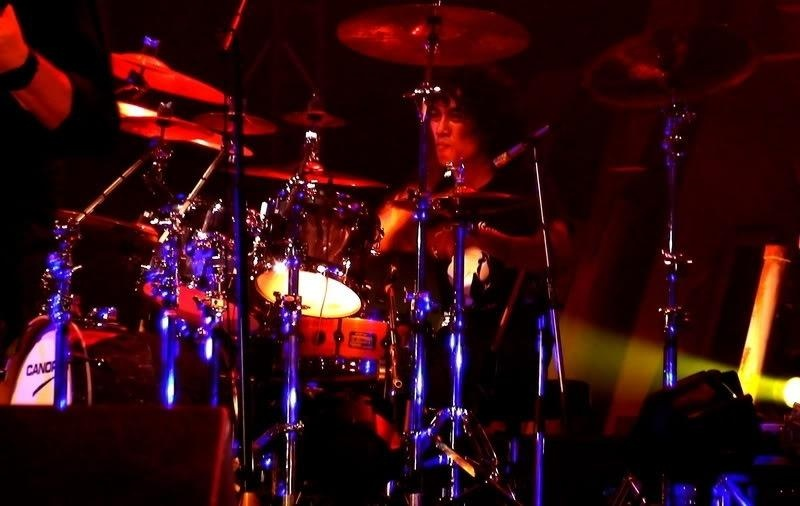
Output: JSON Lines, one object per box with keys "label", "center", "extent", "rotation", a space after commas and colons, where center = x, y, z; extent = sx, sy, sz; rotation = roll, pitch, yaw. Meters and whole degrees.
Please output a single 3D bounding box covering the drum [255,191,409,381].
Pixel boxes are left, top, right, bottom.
{"label": "drum", "center": [-0.385, 0.270, 5.809], "extent": [1.157, 1.152, 1.154], "rotation": [8, -25, -1]}
